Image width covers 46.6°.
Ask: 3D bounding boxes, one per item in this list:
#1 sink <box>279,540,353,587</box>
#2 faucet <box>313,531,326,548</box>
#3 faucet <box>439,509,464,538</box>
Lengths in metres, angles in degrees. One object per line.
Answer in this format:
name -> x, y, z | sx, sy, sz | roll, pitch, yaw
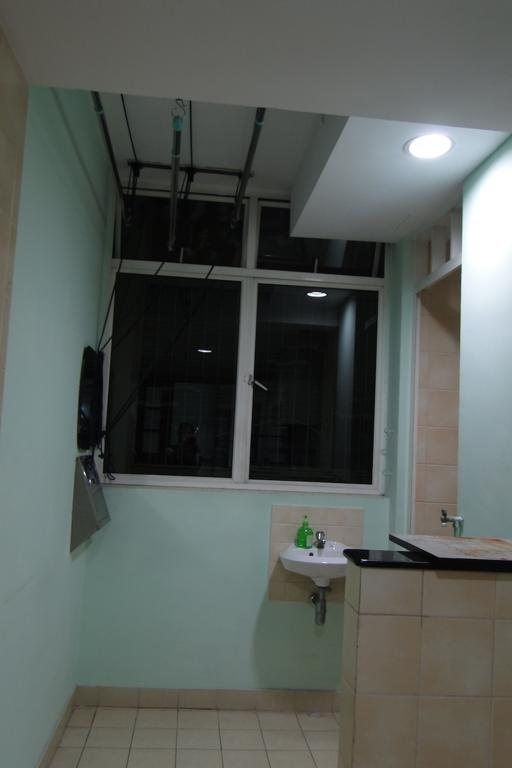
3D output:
sink -> 0.290, 0.880, 2.914 | 0.384, 0.221, 0.484 | 1, -14, -1
faucet -> 0.334, 0.824, 3.165 | 0.071, 0.117, 0.070 | 1, -5, -3
faucet -> 0.772, 0.538, 2.345 | 0.080, 0.090, 0.152 | 2, -3, 17
